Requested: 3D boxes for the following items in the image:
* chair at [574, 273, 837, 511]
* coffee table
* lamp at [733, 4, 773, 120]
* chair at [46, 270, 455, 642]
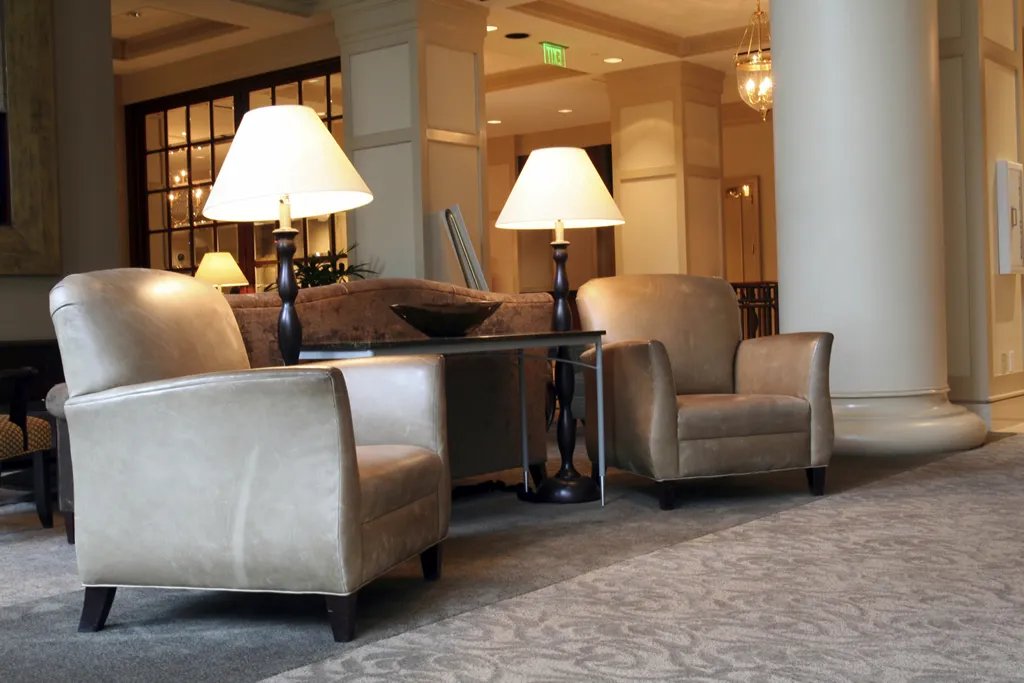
[{"bbox_3d":[0.914,0.199,4.147,0.974,1.077,1.149,-2,0,-4],"label":"chair"},{"bbox_3d":[-0.282,0.331,3.592,1.289,0.757,0.493,-6,8,-16],"label":"coffee table"},{"bbox_3d":[2.215,-2.557,7.696,0.288,1.124,1.479,0,5,16],"label":"lamp"},{"bbox_3d":[-0.831,0.286,2.859,1.125,1.011,1.110,-2,0,26],"label":"chair"}]
